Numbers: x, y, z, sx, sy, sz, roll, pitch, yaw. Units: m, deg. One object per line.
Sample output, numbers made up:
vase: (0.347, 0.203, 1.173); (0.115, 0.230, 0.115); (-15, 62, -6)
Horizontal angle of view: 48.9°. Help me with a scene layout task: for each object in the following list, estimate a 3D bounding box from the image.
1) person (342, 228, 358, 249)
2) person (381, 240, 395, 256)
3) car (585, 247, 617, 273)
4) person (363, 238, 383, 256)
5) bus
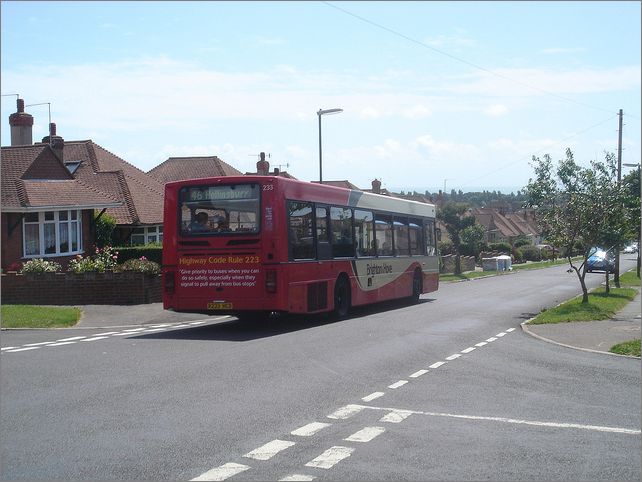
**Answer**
person: (0.828, -0.053, 21.003); (0.425, 0.511, 1.714); (0, 5, 9)
person: (2.217, 0.238, 23.603); (0.407, 0.425, 1.506); (-3, -4, 9)
car: (14.898, 1.031, 37.316); (1.444, 1.326, 3.410); (0, 2, 22)
person: (1.606, 0.207, 22.384); (0.467, 0.548, 1.705); (2, -1, 13)
bus: (0.270, 0.151, 21.894); (3.069, 3.231, 11.228); (0, 0, 32)
